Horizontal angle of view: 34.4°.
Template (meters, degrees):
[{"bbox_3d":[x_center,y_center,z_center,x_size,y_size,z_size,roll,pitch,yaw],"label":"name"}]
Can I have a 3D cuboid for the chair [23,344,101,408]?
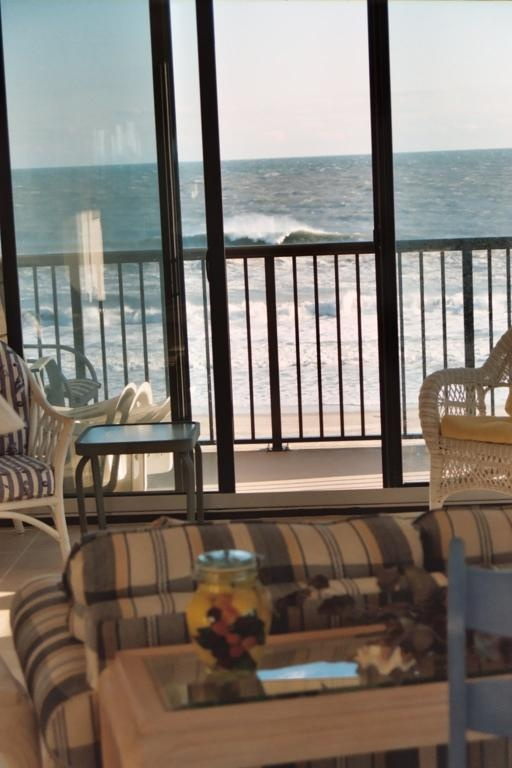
[{"bbox_3d":[-0.664,-0.020,2.907,0.218,0.300,0.282,-3,18,-4],"label":"chair"}]

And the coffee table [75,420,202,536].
[{"bbox_3d":[-0.311,0.193,2.238,0.358,0.334,0.350,-1,1,-7],"label":"coffee table"}]
